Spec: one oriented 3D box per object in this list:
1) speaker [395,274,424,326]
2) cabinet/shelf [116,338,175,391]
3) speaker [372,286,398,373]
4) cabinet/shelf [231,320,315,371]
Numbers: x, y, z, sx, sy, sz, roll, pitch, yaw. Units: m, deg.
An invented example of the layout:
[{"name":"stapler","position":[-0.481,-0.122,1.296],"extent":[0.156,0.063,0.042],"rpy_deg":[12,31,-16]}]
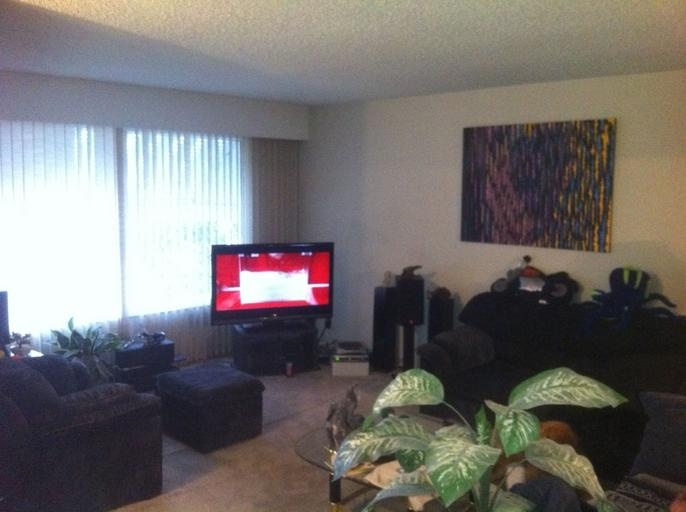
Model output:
[{"name":"speaker","position":[0.747,0.547,5.702],"extent":[0.264,0.449,0.257],"rpy_deg":[2,8,6]},{"name":"cabinet/shelf","position":[-1.962,1.132,5.270],"extent":[0.529,0.429,0.298],"rpy_deg":[-2,-5,-42]},{"name":"speaker","position":[0.460,0.815,5.910],"extent":[0.291,0.936,0.274],"rpy_deg":[2,12,3]},{"name":"cabinet/shelf","position":[-0.749,1.022,5.837],"extent":[0.873,0.515,0.586],"rpy_deg":[-2,8,-19]}]
